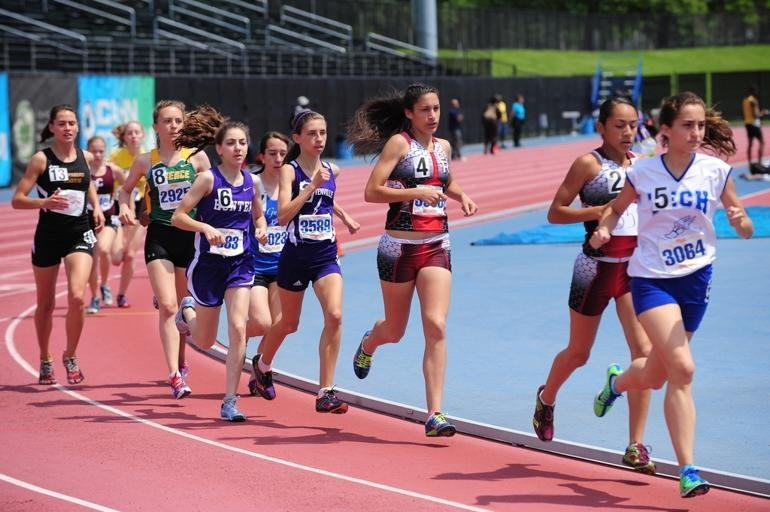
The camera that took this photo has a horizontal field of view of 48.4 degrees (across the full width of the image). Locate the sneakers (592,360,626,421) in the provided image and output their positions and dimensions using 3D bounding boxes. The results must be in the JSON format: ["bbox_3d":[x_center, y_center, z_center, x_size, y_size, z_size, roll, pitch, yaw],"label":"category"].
[{"bbox_3d":[1.688,1.047,6.516,0.168,0.484,0.210,3,43,-24],"label":"sneakers"}]

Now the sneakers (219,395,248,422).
[{"bbox_3d":[-1.291,1.319,7.351,0.217,0.253,0.212,-1,11,-11],"label":"sneakers"}]

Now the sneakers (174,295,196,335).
[{"bbox_3d":[-1.860,0.581,7.918,0.136,0.396,0.187,31,44,8],"label":"sneakers"}]

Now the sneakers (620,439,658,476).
[{"bbox_3d":[1.791,1.452,6.143,0.124,0.154,0.355,0,2,-31],"label":"sneakers"}]

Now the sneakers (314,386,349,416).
[{"bbox_3d":[-0.452,1.233,7.212,0.242,0.273,0.254,0,10,-6],"label":"sneakers"}]

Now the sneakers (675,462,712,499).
[{"bbox_3d":[1.945,1.434,5.433,0.148,0.204,0.174,2,10,6],"label":"sneakers"}]

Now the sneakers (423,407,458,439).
[{"bbox_3d":[0.393,1.291,6.543,0.114,0.144,0.311,-16,14,-36],"label":"sneakers"}]

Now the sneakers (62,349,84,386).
[{"bbox_3d":[-3.018,1.049,8.379,0.158,0.182,0.414,-19,51,-29],"label":"sneakers"}]

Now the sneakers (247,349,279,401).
[{"bbox_3d":[-1.119,1.047,7.772,0.170,0.223,0.498,-3,57,-43],"label":"sneakers"}]

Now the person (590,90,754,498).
[{"bbox_3d":[1.956,0.232,5.884,0.948,2.649,1.384,5,11,21],"label":"person"}]

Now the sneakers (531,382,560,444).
[{"bbox_3d":[1.210,1.208,6.568,0.149,0.446,0.204,-4,3,-13],"label":"sneakers"}]

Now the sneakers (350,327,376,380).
[{"bbox_3d":[-0.172,0.897,7.615,0.165,0.488,0.196,1,7,-25],"label":"sneakers"}]

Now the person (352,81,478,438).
[{"bbox_3d":[0.150,0.019,6.988,0.853,2.786,1.515,1,10,-3],"label":"person"}]
